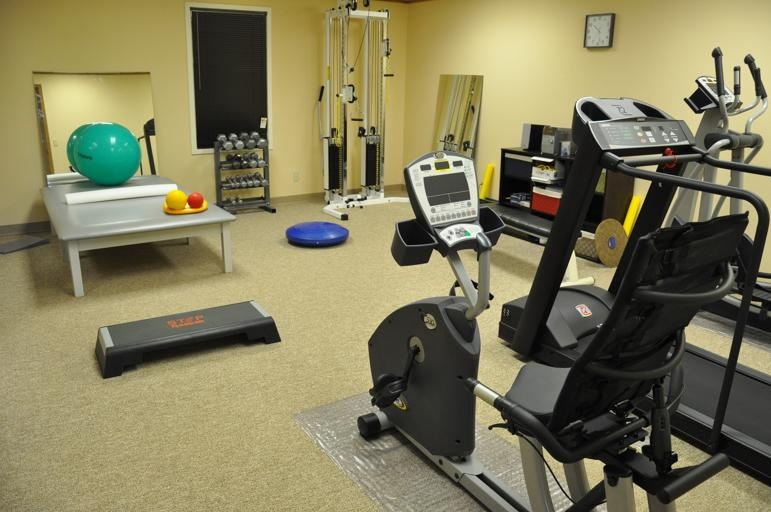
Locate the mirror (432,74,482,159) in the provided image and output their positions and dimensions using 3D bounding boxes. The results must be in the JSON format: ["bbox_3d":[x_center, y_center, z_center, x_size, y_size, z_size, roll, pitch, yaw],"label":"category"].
[{"bbox_3d":[1.008,-2.041,7.355,0.773,1.143,0.333,15,26,36],"label":"mirror"}]

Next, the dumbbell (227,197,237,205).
[{"bbox_3d":[-2.163,-0.783,7.077,0.121,0.099,0.124,7,21,17],"label":"dumbbell"}]

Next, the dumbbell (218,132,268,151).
[{"bbox_3d":[-1.967,-1.563,6.855,0.674,0.229,0.330,-5,21,-13],"label":"dumbbell"}]

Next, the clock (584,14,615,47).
[{"bbox_3d":[2.418,-2.537,5.680,0.091,0.362,0.359,-16,26,-35],"label":"clock"}]

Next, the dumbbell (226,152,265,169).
[{"bbox_3d":[-1.945,-1.320,6.936,0.555,0.190,0.358,-7,22,-17],"label":"dumbbell"}]

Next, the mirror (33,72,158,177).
[{"bbox_3d":[-3.511,-1.568,5.939,1.402,1.443,0.070,-2,7,-21],"label":"mirror"}]

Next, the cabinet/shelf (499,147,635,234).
[{"bbox_3d":[1.697,-0.591,4.663,0.316,0.631,1.081,-8,19,-34],"label":"cabinet/shelf"}]
